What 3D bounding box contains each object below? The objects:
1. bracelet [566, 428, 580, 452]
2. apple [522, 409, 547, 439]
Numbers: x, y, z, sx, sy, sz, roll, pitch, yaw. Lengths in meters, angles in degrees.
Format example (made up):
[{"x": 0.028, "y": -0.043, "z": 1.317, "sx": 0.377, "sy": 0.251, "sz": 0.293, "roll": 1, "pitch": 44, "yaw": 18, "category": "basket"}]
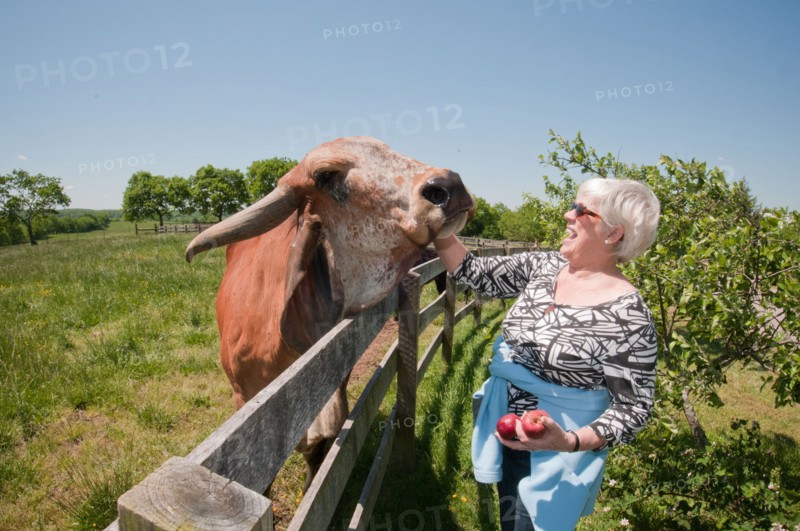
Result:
[{"x": 1.234, "y": 1.274, "z": 3.319, "sx": 0.029, "sy": 0.123, "sz": 0.118, "roll": 4, "pitch": -3, "yaw": -4, "category": "bracelet"}, {"x": 0.926, "y": 1.114, "z": 3.258, "sx": 0.162, "sy": 0.183, "sz": 0.175, "roll": -4, "pitch": 25, "yaw": -10, "category": "apple"}]
